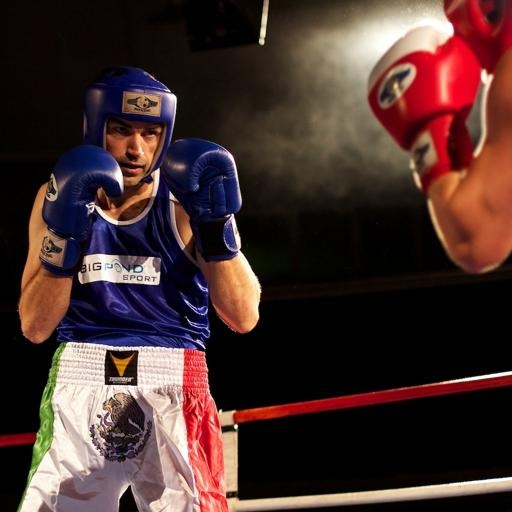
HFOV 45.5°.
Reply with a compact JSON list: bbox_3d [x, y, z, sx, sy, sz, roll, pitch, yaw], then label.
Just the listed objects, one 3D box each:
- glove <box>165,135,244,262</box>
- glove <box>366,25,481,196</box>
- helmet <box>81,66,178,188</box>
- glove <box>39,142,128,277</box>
[{"bbox_3d":[-0.145,-0.213,2.029,0.205,0.158,0.410,-3,-29,6],"label":"glove"},{"bbox_3d":[0.426,-0.346,1.417,0.313,0.165,0.227,19,-24,-36],"label":"glove"},{"bbox_3d":[-0.408,-0.416,2.078,0.232,0.347,0.330,4,-5,-14],"label":"helmet"},{"bbox_3d":[-0.547,-0.145,1.858,0.195,0.381,0.180,23,21,18],"label":"glove"}]
